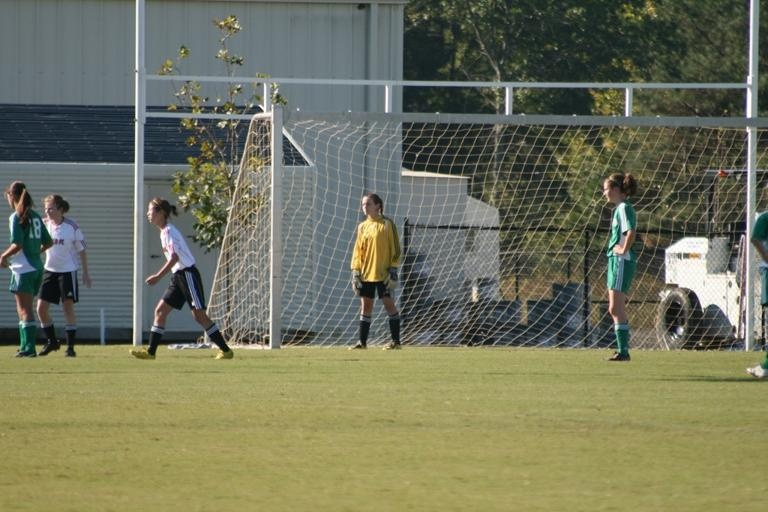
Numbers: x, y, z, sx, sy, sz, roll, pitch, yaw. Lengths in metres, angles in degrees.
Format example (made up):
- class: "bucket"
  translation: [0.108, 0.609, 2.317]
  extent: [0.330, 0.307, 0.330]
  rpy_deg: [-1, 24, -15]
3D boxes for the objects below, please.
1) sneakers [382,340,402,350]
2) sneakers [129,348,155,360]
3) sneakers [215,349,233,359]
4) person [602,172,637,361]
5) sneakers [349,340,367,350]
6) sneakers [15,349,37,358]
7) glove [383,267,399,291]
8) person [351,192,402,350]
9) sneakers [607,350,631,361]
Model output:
- class: "sneakers"
  translation: [0.098, 1.655, 27.306]
  extent: [0.401, 0.206, 0.126]
  rpy_deg: [2, -3, 10]
- class: "sneakers"
  translation: [-4.197, 1.704, 25.625]
  extent: [0.518, 0.199, 0.167]
  rpy_deg: [12, -1, -3]
- class: "sneakers"
  translation: [-2.797, 1.733, 25.799]
  extent: [0.365, 0.138, 0.117]
  rpy_deg: [-2, -2, 6]
- class: "person"
  translation: [3.994, 0.193, 25.426]
  extent: [0.538, 3.175, 0.933]
  rpy_deg: [0, 0, 8]
- class: "sneakers"
  translation: [-0.459, 1.652, 27.186]
  extent: [0.366, 0.138, 0.125]
  rpy_deg: [1, -2, 6]
- class: "sneakers"
  translation: [-6.205, 1.717, 25.995]
  extent: [0.365, 0.146, 0.126]
  rpy_deg: [4, -5, -5]
- class: "glove"
  translation: [0.079, 0.439, 27.060]
  extent: [0.151, 0.382, 0.302]
  rpy_deg: [3, 11, 17]
- class: "person"
  translation: [-0.147, 0.290, 27.076]
  extent: [0.865, 2.802, 0.473]
  rpy_deg: [0, 0, -1]
- class: "sneakers"
  translation: [3.982, 1.732, 25.446]
  extent: [0.432, 0.164, 0.149]
  rpy_deg: [0, -1, -2]
